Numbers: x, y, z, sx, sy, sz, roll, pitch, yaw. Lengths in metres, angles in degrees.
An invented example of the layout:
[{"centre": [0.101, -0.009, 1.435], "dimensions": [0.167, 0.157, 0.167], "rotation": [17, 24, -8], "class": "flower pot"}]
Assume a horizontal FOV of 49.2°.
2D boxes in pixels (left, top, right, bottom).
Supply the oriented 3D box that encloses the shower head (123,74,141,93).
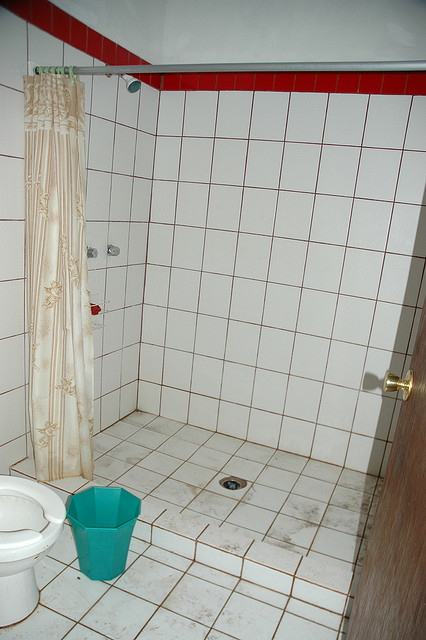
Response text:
[{"centre": [-0.275, -0.781, 1.550], "dimensions": [0.036, 0.043, 0.103], "rotation": [-14, 56, -27], "class": "shower head"}]
